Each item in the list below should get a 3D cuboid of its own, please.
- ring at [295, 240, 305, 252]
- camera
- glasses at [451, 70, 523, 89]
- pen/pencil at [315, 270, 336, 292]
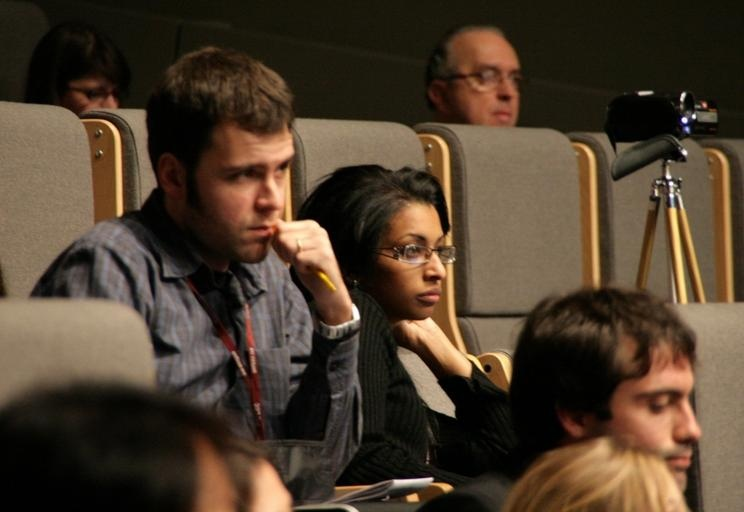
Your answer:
[{"bbox_3d":[-0.144,-0.020,1.826,0.019,0.021,0.018,-1,2,0],"label":"ring"},{"bbox_3d":[0.986,-0.463,3.004,0.330,0.175,0.358,4,8,31],"label":"camera"},{"bbox_3d":[0.444,-0.695,3.493,0.125,0.038,0.126,-1,-4,-34],"label":"glasses"},{"bbox_3d":[-0.093,0.053,1.860,0.070,0.017,0.020,32,4,-2],"label":"pen/pencil"}]
